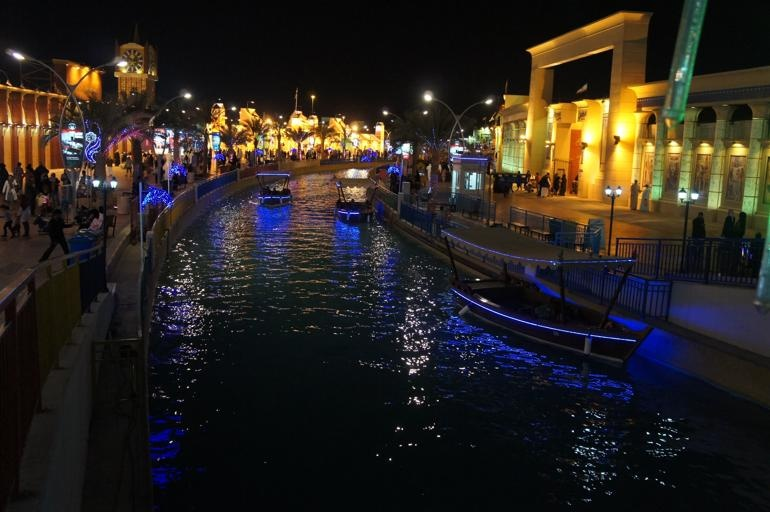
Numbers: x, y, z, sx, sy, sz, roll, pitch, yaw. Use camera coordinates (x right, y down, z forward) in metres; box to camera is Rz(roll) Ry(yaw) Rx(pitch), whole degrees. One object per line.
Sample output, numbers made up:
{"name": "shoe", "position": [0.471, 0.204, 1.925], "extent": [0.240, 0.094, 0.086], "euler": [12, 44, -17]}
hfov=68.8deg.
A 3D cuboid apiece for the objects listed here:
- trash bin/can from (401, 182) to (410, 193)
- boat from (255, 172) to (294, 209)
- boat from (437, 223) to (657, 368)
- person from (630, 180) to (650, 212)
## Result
{"name": "trash bin/can", "position": [1.498, -4.873, 40.433], "extent": [0.526, 0.722, 0.361], "euler": [-4, 13, -25]}
{"name": "boat", "position": [-10.675, -5.871, 53.746], "extent": [3.755, 3.381, 6.809], "euler": [-1, 11, -8]}
{"name": "boat", "position": [5.499, 1.302, 19.413], "extent": [3.084, 3.310, 7.276], "euler": [4, 8, -33]}
{"name": "person", "position": [16.219, -3.764, 35.719], "extent": [0.874, 1.669, 1.371], "euler": [1, 12, -4]}
